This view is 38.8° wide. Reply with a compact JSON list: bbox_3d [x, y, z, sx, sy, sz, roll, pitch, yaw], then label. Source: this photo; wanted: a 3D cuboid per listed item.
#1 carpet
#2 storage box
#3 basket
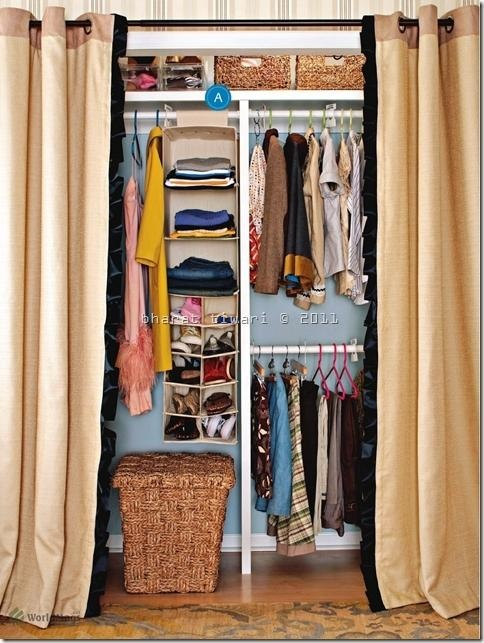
[{"bbox_3d":[0.012,1.099,2.518,1.723,0.037,0.196,0,10,0],"label":"carpet"},{"bbox_3d":[-0.283,0.765,2.836,0.505,0.522,0.424,1,10,0],"label":"storage box"},{"bbox_3d":[-0.279,0.728,2.847,0.503,0.530,0.436,1,19,-2],"label":"basket"}]
